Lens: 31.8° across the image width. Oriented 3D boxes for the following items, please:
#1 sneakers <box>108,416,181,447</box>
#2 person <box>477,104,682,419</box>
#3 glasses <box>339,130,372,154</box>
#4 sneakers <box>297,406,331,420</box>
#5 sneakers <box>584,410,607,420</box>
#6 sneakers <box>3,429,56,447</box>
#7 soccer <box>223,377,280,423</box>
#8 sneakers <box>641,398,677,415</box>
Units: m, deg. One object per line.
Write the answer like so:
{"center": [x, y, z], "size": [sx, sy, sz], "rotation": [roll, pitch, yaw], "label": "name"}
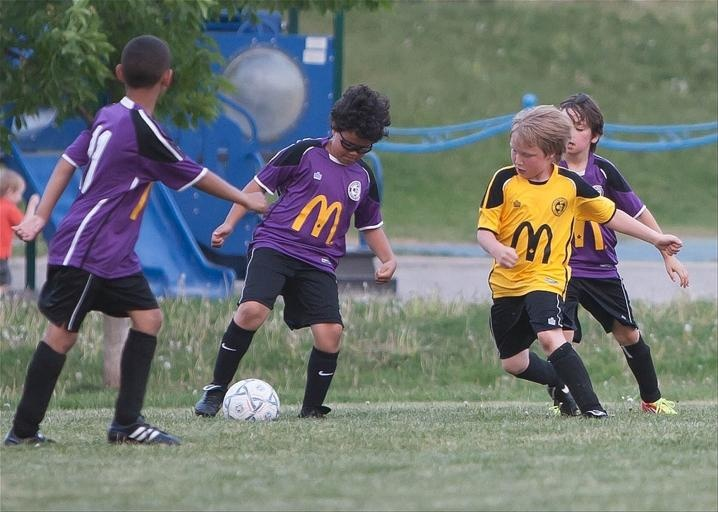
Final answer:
{"center": [-1.661, 1.312, 9.643], "size": [0.581, 0.255, 0.207], "rotation": [4, -5, 0], "label": "sneakers"}
{"center": [1.529, 0.044, 10.272], "size": [1.237, 2.463, 0.660], "rotation": [5, -3, -16], "label": "person"}
{"center": [-0.026, -0.916, 10.379], "size": [0.298, 0.156, 0.139], "rotation": [5, -3, -14], "label": "glasses"}
{"center": [-0.371, 1.294, 10.481], "size": [0.260, 0.128, 0.098], "rotation": [-13, -8, -1], "label": "sneakers"}
{"center": [1.918, 1.271, 10.165], "size": [0.124, 0.054, 0.073], "rotation": [5, -19, 0], "label": "sneakers"}
{"center": [-2.498, 1.387, 9.547], "size": [0.385, 0.178, 0.134], "rotation": [0, 2, -14], "label": "sneakers"}
{"center": [-0.884, 1.163, 10.430], "size": [0.346, 0.352, 0.364], "rotation": [3, -44, -15], "label": "soccer"}
{"center": [2.562, 1.273, 10.669], "size": [0.209, 0.096, 0.134], "rotation": [1, 10, 5], "label": "sneakers"}
